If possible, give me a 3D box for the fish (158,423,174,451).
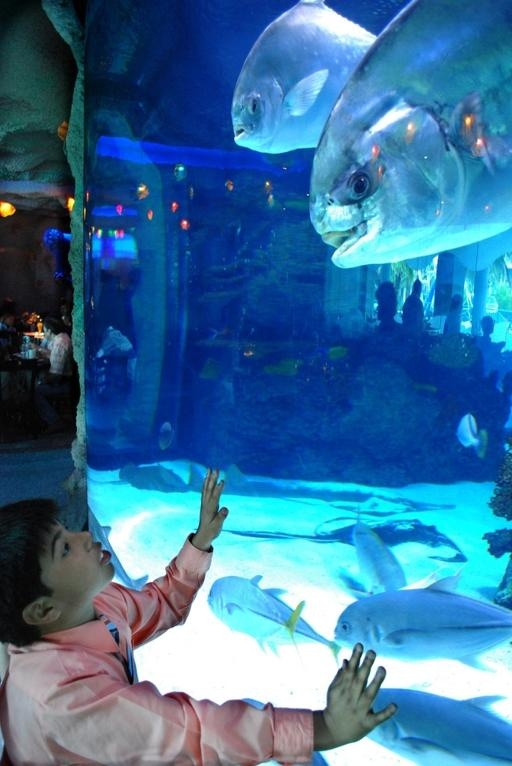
[{"bbox_3d":[-0.466,0.272,3.163,0.111,0.127,0.032,4,4,44],"label":"fish"}]

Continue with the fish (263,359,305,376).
[{"bbox_3d":[0.114,-0.071,2.607,0.065,0.077,0.187,1,5,-32],"label":"fish"}]

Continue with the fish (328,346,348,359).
[{"bbox_3d":[0.318,-0.121,2.421,0.079,0.061,0.029,8,6,44],"label":"fish"}]

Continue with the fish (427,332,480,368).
[{"bbox_3d":[0.664,-0.109,2.118,0.079,0.119,0.187,1,5,-36],"label":"fish"}]

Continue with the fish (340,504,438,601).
[{"bbox_3d":[0.421,0.618,2.253,0.166,0.128,0.347,-9,28,-5],"label":"fish"}]

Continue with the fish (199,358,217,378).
[{"bbox_3d":[-0.219,-0.070,2.858,0.086,0.081,0.022,27,12,33],"label":"fish"}]

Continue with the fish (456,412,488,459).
[{"bbox_3d":[0.751,0.179,2.157,0.044,0.141,0.145,2,4,-18],"label":"fish"}]
